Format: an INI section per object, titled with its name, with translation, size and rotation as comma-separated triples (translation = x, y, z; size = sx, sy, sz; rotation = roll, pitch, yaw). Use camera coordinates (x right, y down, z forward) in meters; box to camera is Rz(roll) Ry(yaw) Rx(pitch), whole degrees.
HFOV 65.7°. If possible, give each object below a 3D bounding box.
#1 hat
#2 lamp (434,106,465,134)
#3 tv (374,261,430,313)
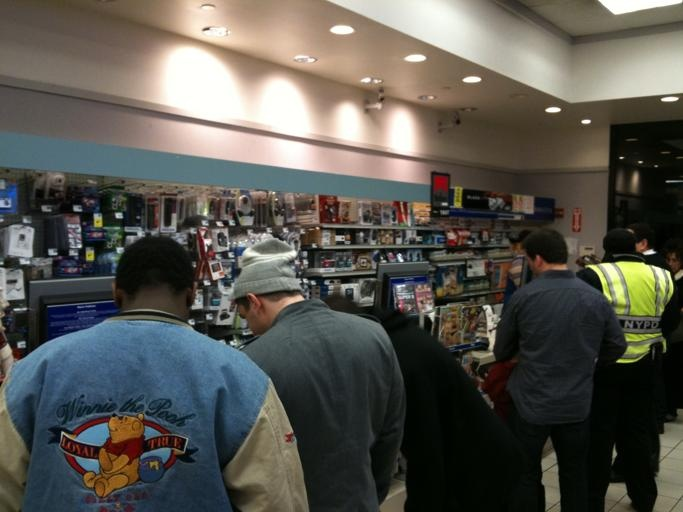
[hat]
translation = -0.316, 0.047, 2.224
size = 0.314, 0.243, 0.213
rotation = -7, -4, 7
[lamp]
translation = 1.641, -2.012, 7.762
size = 0.200, 0.355, 0.615
rotation = -9, -13, -17
[tv]
translation = 0.436, 0.232, 3.797
size = 0.371, 0.346, 0.128
rotation = 3, -9, -40
